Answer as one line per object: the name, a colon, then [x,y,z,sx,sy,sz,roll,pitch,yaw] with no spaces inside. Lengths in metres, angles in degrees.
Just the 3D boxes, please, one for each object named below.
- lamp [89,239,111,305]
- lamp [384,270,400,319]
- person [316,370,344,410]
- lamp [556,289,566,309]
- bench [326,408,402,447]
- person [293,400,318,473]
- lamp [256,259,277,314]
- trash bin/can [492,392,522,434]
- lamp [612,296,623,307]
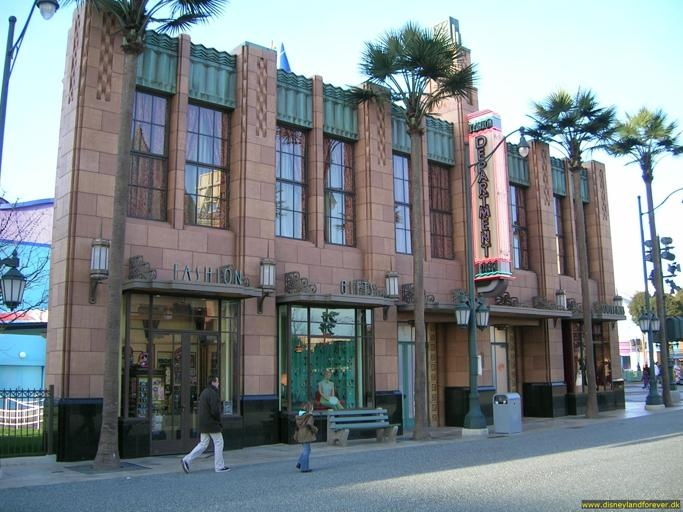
lamp: [-6.747,0.417,17.482,0.487,1.700,0.702,3,-14,-23]
lamp: [1.825,1.558,23.289,0.456,1.983,0.476,4,-5,-27]
person: [-0.450,4.532,21.364,0.850,1.420,0.617,4,-15,-28]
lamp: [10.520,2.074,29.918,0.746,1.018,0.296,7,-16,-36]
bench: [0.621,5.595,20.593,2.236,1.115,1.201,3,-15,-25]
person: [-0.870,4.369,15.162,0.480,1.603,0.878,-1,-13,-6]
lamp: [-2.458,0.980,20.364,0.571,1.716,0.499,1,-4,-9]
trash bin/can: [6.009,5.686,22.641,1.121,1.396,0.816,-1,-13,-8]
lamp: [14.728,2.424,33.622,0.510,0.778,0.522,-5,-8,40]
